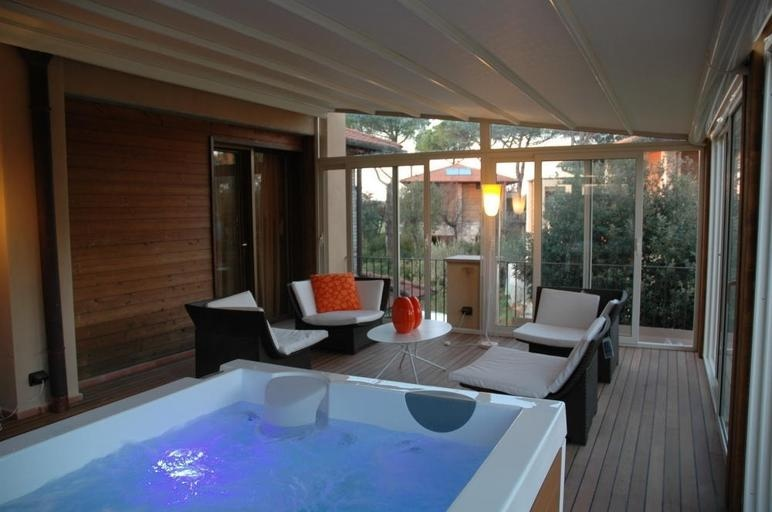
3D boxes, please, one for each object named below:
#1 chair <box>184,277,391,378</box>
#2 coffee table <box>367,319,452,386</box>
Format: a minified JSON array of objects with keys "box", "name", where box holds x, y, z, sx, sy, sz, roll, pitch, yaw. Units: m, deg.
[{"box":[-1.022,0.830,5.944,1.079,1.023,2.618,7,13,32],"name":"chair"},{"box":[0.280,1.029,5.495,0.776,0.476,0.746,1,12,10],"name":"coffee table"}]
